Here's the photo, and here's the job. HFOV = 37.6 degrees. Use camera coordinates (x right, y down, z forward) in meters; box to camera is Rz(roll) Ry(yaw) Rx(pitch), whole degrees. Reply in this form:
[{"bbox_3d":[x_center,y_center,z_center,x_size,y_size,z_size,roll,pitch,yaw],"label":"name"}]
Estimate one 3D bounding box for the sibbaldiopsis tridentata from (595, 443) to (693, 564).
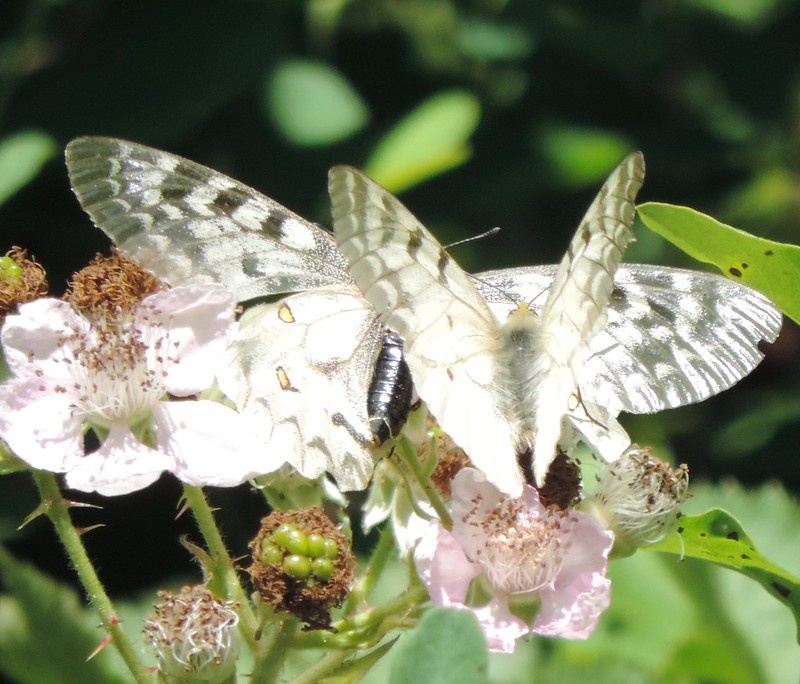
[{"bbox_3d":[0.577,0.399,2.947,0.199,0.299,0.272,3,101,1],"label":"sibbaldiopsis tridentata"}]
